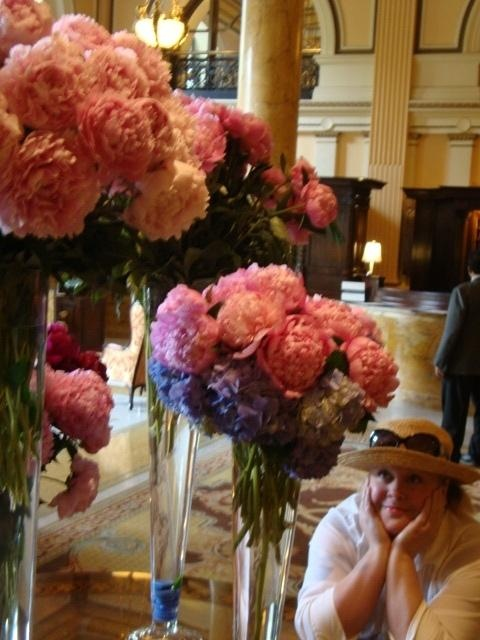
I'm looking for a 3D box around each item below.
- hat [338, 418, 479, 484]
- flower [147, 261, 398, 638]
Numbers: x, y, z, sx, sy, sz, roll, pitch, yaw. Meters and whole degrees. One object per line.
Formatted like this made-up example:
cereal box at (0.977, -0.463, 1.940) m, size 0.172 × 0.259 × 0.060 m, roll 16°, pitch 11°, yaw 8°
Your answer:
hat at (0.552, 0.409, 1.562) m, size 0.284 × 0.125 × 0.276 m, roll 6°, pitch -8°, yaw 8°
flower at (0.047, 0.082, 0.606) m, size 0.236 × 0.450 × 0.289 m, roll 2°, pitch 7°, yaw 13°
